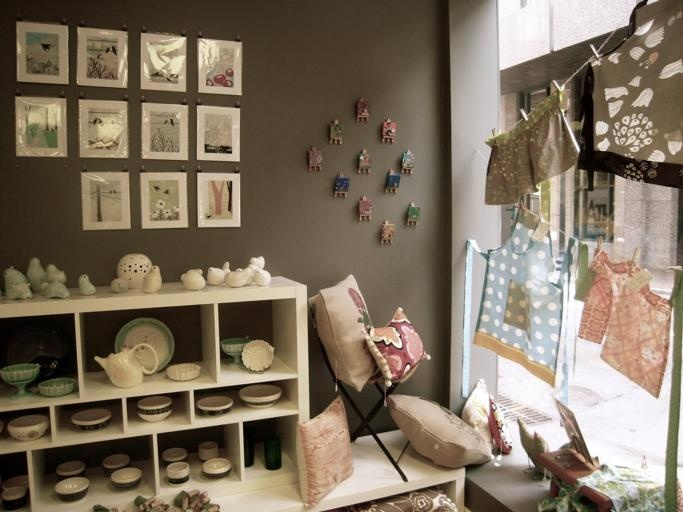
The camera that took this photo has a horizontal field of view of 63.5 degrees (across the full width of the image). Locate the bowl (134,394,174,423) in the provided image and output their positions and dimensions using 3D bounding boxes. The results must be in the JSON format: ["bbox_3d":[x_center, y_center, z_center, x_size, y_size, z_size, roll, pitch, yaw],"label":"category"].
[{"bbox_3d":[-1.030,0.830,3.040,0.189,0.138,0.236,-5,0,-19],"label":"bowl"}]

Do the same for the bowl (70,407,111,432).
[{"bbox_3d":[-1.329,0.862,2.927,0.192,0.108,0.166,-5,0,-24],"label":"bowl"}]

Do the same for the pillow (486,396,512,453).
[{"bbox_3d":[1.029,1.108,3.591,0.056,0.239,0.251,-19,-41,20],"label":"pillow"}]

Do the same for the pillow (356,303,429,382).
[{"bbox_3d":[0.327,0.531,3.223,0.301,0.281,0.630,35,22,16],"label":"pillow"}]

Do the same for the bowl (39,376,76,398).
[{"bbox_3d":[-1.454,0.667,2.825,0.110,0.052,0.113,5,1,0],"label":"bowl"}]

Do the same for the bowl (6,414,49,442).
[{"bbox_3d":[-1.606,0.875,2.827,0.185,0.133,0.165,-5,0,-33],"label":"bowl"}]

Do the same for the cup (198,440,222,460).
[{"bbox_3d":[-0.769,1.108,3.199,0.096,0.080,0.102,1,-5,0],"label":"cup"}]
